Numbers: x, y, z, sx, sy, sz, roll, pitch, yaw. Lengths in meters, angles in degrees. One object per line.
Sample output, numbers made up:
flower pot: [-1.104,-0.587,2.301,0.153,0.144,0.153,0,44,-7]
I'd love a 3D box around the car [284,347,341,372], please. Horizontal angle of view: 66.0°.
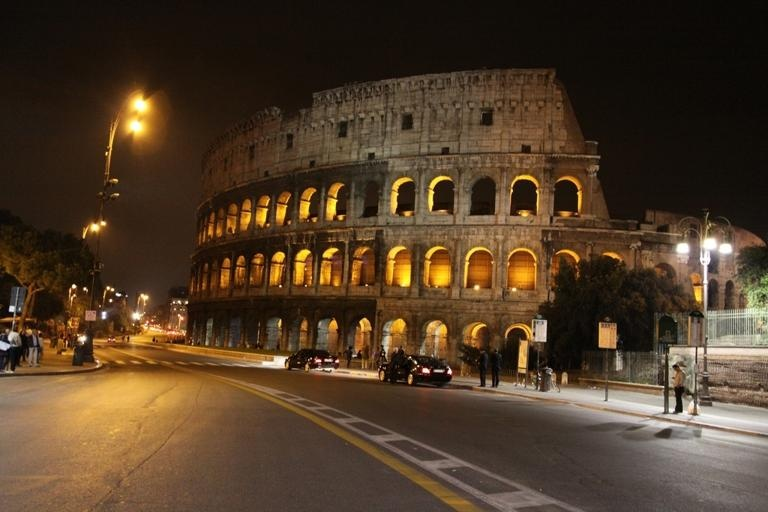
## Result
car: [-5.147,7.200,40.933,1.571,1.166,3.368,9,-8,-42]

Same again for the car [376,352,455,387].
car: [1.571,6.389,33.334,1.729,1.339,3.881,8,-8,-32]

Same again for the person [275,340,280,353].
person: [-10.608,8.807,59.371,0.405,1.024,1.455,5,-12,-14]

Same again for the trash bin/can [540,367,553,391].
trash bin/can: [8.244,6.269,30.224,0.620,1.295,1.281,0,-11,13]
